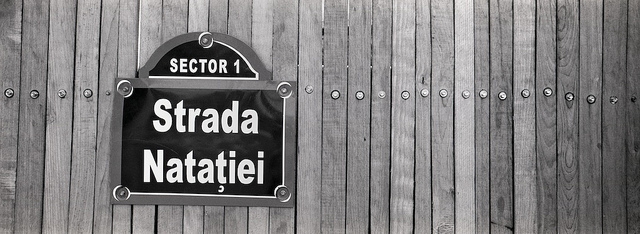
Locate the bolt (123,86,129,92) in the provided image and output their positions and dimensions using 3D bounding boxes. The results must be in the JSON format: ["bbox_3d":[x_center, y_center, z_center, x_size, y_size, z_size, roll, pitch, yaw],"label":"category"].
[{"bbox_3d":[-2.813,-0.447,15.509,0.081,0.075,0.021,-1,-16,-5],"label":"bolt"}]

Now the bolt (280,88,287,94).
[{"bbox_3d":[-0.534,-0.434,15.519,0.090,0.067,0.018,-2,-16,-2],"label":"bolt"}]
